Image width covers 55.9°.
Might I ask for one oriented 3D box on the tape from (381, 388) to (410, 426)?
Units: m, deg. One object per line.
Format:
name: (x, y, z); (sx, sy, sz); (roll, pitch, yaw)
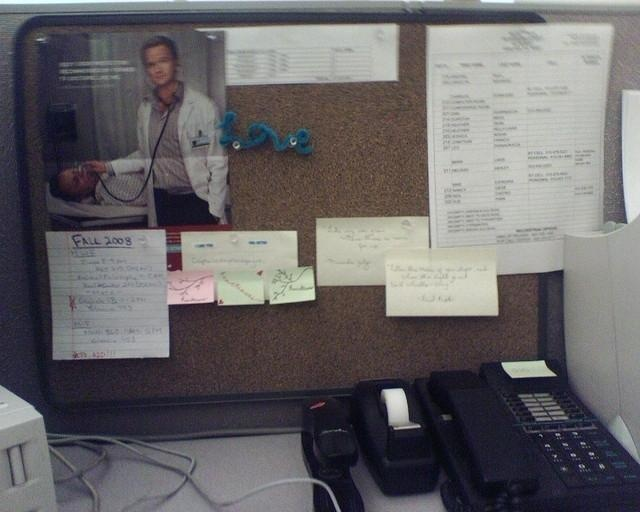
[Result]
tape: (0.110, 0.217, 0.877); (0.038, 0.036, 0.053); (-3, 14, 2)
